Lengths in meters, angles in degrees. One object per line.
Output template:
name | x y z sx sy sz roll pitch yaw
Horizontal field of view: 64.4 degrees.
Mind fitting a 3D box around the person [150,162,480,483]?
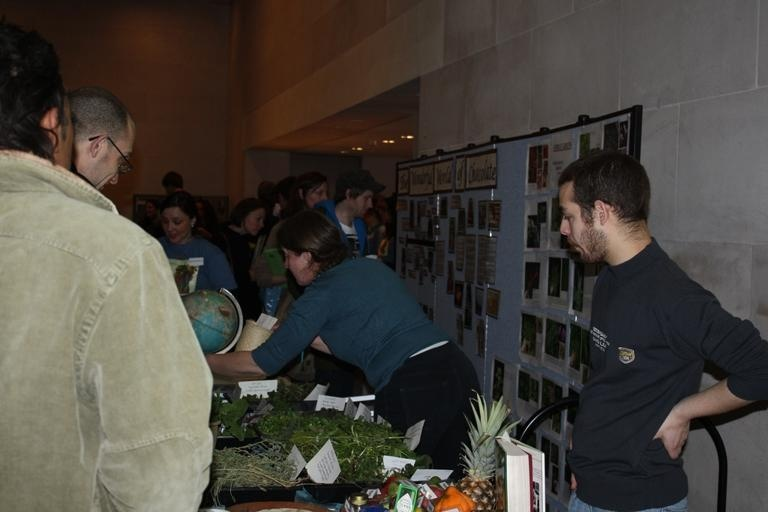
person | -0.077 0.296 3.345 1.323 2.180 0.811 -2 4 15

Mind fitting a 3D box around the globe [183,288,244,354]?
globe | -0.865 0.286 3.171 0.287 0.397 0.331 6 9 -34
